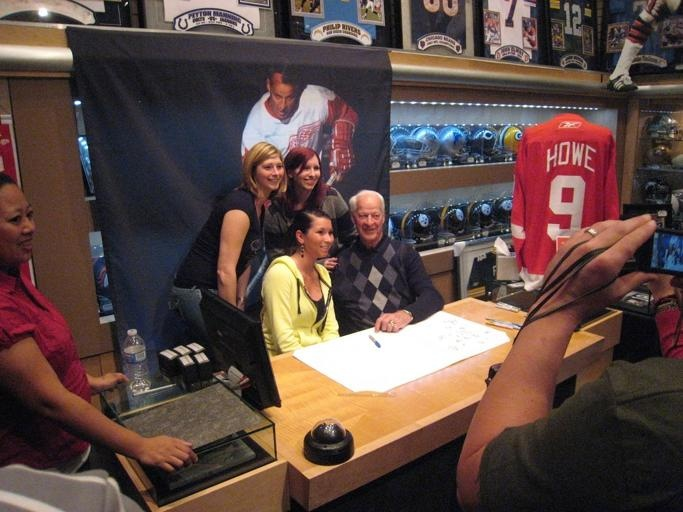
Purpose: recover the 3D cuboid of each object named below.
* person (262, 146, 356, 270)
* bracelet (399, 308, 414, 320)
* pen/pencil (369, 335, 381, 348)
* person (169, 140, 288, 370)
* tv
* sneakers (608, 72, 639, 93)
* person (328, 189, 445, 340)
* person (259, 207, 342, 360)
[{"bbox_3d":[-0.200,-0.251,3.063,0.589,0.943,0.519,2,-17,-21],"label":"person"},{"bbox_3d":[0.343,0.302,2.550,0.050,0.021,0.043,29,3,-26],"label":"bracelet"},{"bbox_3d":[0.159,0.401,2.295,0.019,0.022,0.086,-8,19,-10],"label":"pen/pencil"},{"bbox_3d":[-0.711,0.164,3.036,0.622,1.811,0.480,7,20,-6],"label":"person"},{"bbox_3d":[-0.410,0.347,1.810,0.137,0.407,0.392,-24,28,-33],"label":"tv"},{"bbox_3d":[2.586,-1.606,4.511,0.244,0.132,0.131,17,39,33],"label":"sneakers"},{"bbox_3d":[0.191,0.076,2.990,0.695,1.028,0.569,-4,-8,-6],"label":"person"},{"bbox_3d":[-0.182,0.182,2.725,0.507,0.865,0.493,-3,-14,27],"label":"person"}]
